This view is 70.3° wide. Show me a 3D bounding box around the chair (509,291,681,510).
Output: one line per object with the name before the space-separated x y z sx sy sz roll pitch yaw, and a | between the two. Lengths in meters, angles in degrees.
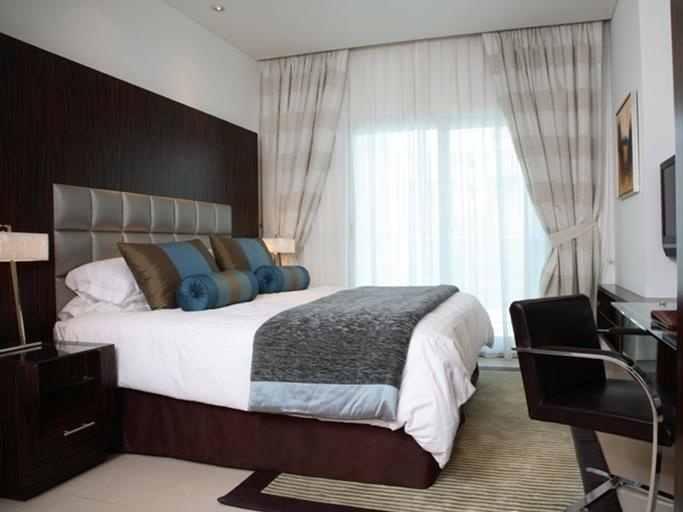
chair | 1.478 0.785 2.919 0.911 1.366 1.005 -1 1 35

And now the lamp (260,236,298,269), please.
lamp | -0.703 -0.034 5.447 0.301 0.359 0.332 0 4 13

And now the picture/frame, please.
picture/frame | 2.589 -0.948 4.379 0.068 0.883 0.873 1 6 21

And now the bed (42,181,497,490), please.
bed | -0.587 0.611 3.582 2.064 1.474 2.206 -1 -1 18
